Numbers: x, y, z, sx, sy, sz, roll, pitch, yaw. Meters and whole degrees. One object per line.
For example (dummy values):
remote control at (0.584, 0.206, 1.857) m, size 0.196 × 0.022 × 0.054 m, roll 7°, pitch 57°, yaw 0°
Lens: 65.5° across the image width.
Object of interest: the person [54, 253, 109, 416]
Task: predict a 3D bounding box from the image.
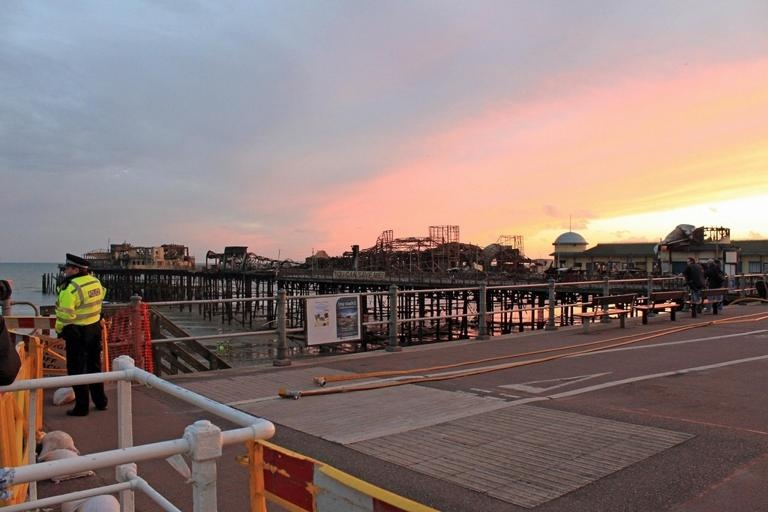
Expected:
person at (-4.669, 1.186, 9.182) m, size 0.706 × 2.629 × 1.036 m, roll -2°, pitch 1°, yaw -28°
